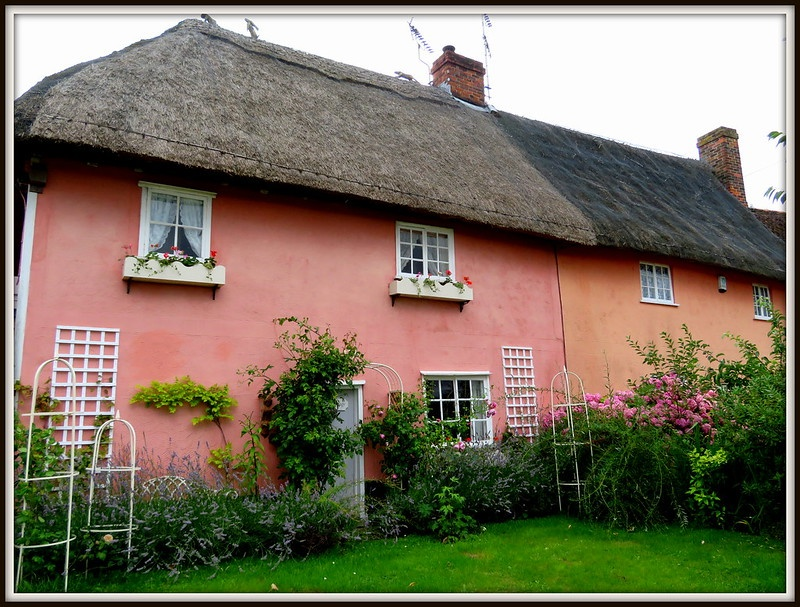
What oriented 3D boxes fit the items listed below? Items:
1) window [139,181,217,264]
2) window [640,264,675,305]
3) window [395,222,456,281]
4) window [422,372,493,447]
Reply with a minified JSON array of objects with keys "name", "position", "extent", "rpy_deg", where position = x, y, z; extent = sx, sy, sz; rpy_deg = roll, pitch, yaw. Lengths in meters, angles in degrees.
[{"name":"window","position":[-3.153,-1.105,9.781],"extent":[1.060,1.096,0.111],"rpy_deg":[7,-16,-26]},{"name":"window","position":[5.170,-0.368,14.118],"extent":[0.735,0.653,0.073],"rpy_deg":[8,-10,-33]},{"name":"window","position":[0.383,-0.829,11.509],"extent":[0.922,0.697,0.038],"rpy_deg":[6,-13,-31]},{"name":"window","position":[0.881,1.721,11.152],"extent":[1.056,0.947,0.110],"rpy_deg":[7,-20,-26]}]
